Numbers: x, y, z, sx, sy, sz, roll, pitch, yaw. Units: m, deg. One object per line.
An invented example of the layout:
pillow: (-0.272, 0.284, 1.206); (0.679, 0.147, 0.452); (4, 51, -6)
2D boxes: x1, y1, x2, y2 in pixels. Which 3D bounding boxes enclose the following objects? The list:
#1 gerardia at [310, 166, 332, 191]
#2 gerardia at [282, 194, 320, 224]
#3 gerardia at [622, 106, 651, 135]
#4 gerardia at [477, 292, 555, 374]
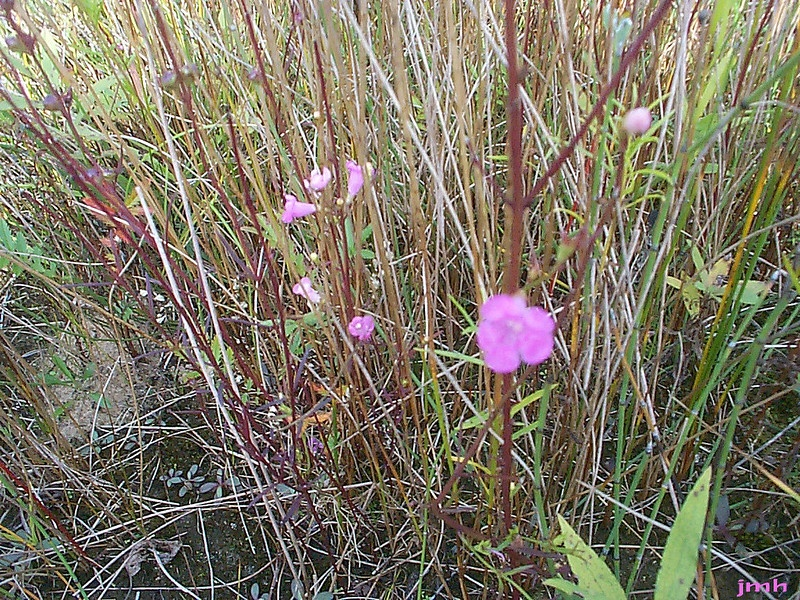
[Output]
gerardia: (-0.159, -0.235, 1.182); (0.041, 0.022, 0.055); (6, 80, 9)
gerardia: (-0.200, -0.183, 1.231); (0.059, 0.027, 0.070); (1, 88, -1)
gerardia: (0.366, -0.280, 0.929); (0.036, 0.035, 0.046); (-1, 22, 8)
gerardia: (0.171, 0.050, 0.919); (0.106, 0.034, 0.114); (-21, 89, -2)
